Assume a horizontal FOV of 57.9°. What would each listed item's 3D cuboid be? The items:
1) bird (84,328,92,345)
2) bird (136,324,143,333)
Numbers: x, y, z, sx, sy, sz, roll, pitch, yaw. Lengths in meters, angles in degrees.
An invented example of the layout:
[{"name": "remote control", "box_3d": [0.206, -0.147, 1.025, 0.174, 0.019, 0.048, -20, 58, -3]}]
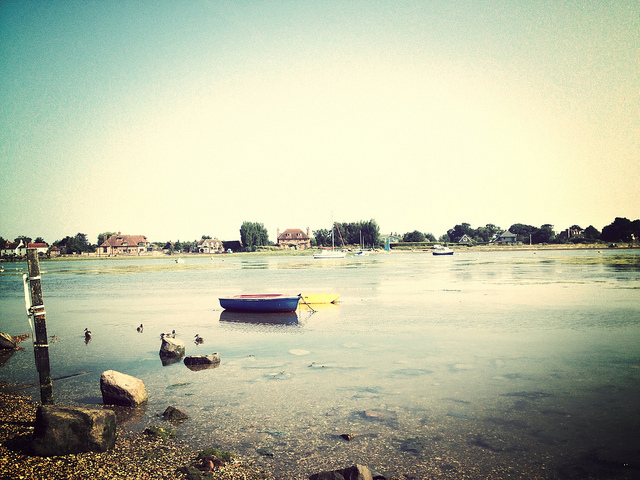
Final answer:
[{"name": "bird", "box_3d": [-14.307, 5.977, 35.949, 0.328, 0.650, 1.133, -2, 20, -16]}, {"name": "bird", "box_3d": [-11.894, 5.881, 38.377, 0.246, 0.568, 0.915, 3, 2, -2]}]
